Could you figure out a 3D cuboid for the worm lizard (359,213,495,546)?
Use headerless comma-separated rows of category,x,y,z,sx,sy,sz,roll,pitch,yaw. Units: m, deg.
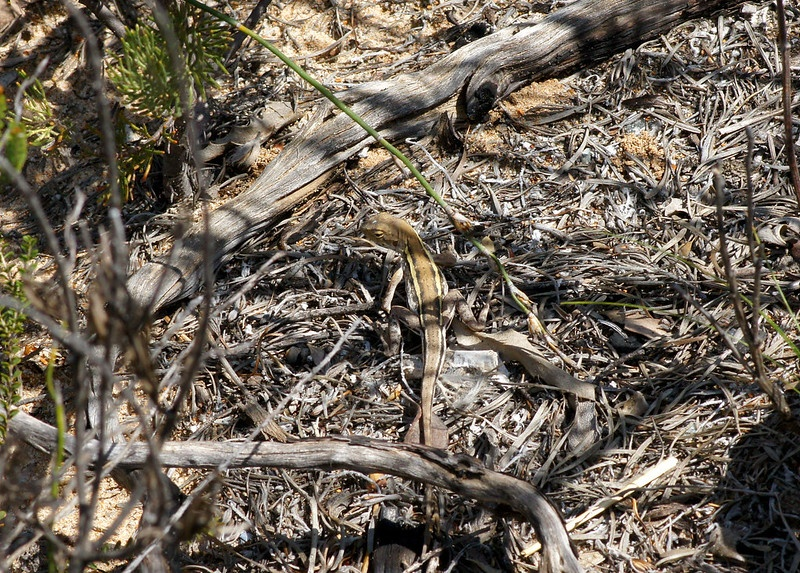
worm lizard,-0.138,0.478,4.793,0.752,1.442,1.114,6,35,22
